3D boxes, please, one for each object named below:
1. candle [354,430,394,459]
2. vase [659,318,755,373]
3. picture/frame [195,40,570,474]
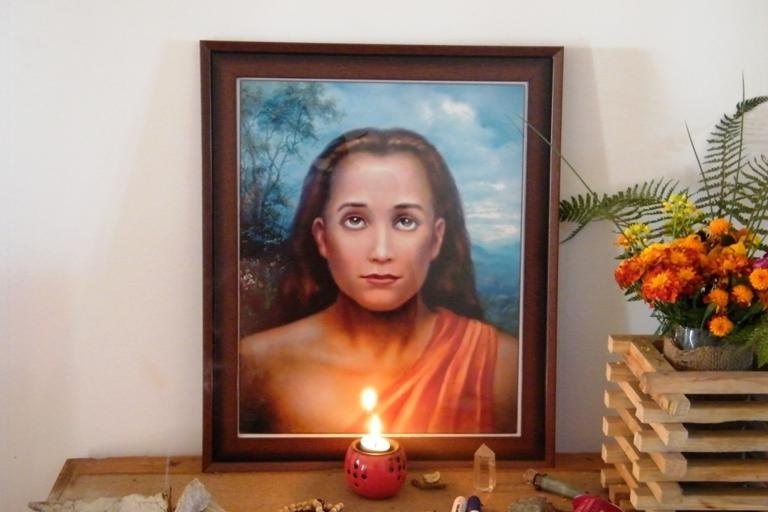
[{"bbox_3d":[-0.019,0.425,1.569,0.091,0.043,0.144,-2,2,2],"label":"candle"},{"bbox_3d":[0.692,0.196,1.425,0.121,0.087,0.122,1,-1,4],"label":"vase"},{"bbox_3d":[-0.023,-0.025,1.616,1.034,1.214,0.049,1,1,-3],"label":"picture/frame"}]
